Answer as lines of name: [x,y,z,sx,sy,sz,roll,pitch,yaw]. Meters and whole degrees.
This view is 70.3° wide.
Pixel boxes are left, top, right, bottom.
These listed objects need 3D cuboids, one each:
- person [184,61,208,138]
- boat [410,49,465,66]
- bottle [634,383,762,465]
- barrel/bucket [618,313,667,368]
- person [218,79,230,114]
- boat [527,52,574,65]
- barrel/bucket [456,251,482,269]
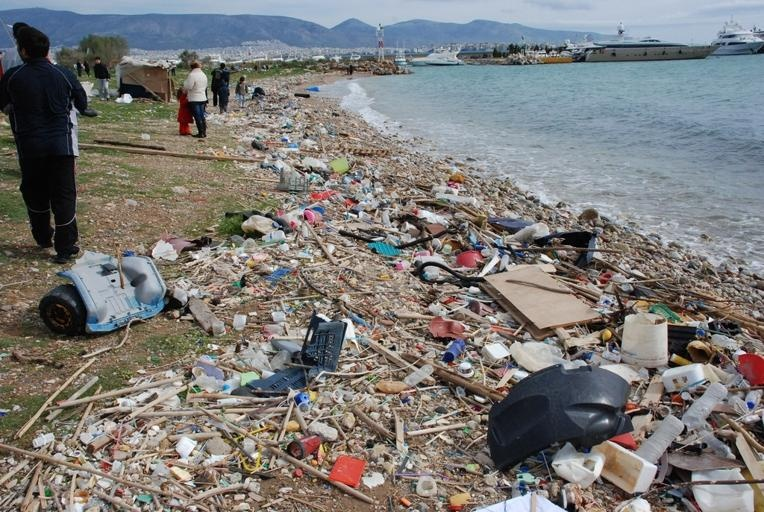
person: [-4.478,-3.763,13.049,0.519,1.780,1.112,-4,31,-17]
boat: [10.927,-38.090,104.758,7.046,3.397,12.440,-1,23,-11]
bottle: [2.950,1.662,5.176,1.873,0.280,0.408,-15,29,-31]
barrel/bucket: [3.012,1.031,6.376,0.639,0.445,0.524,1,0,8]
person: [-5.142,-5.160,17.615,0.310,1.030,1.025,-3,28,-16]
boat: [29.975,-35.818,98.566,5.631,1.779,11.062,-3,23,-14]
barrel/bucket: [1.285,0.071,8.152,0.355,0.108,0.289,-19,37,-5]
